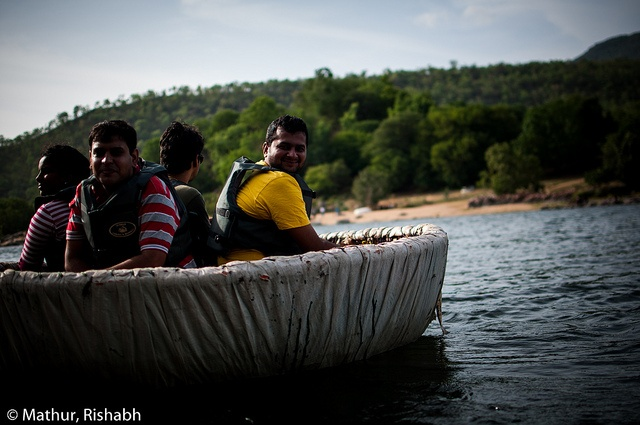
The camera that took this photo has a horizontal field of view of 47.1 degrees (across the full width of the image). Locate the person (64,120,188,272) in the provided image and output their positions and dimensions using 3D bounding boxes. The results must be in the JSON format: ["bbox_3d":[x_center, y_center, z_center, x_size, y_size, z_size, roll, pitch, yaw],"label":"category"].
[{"bbox_3d":[-1.931,-0.117,7.354,1.218,1.531,0.980,1,6,29],"label":"person"}]
